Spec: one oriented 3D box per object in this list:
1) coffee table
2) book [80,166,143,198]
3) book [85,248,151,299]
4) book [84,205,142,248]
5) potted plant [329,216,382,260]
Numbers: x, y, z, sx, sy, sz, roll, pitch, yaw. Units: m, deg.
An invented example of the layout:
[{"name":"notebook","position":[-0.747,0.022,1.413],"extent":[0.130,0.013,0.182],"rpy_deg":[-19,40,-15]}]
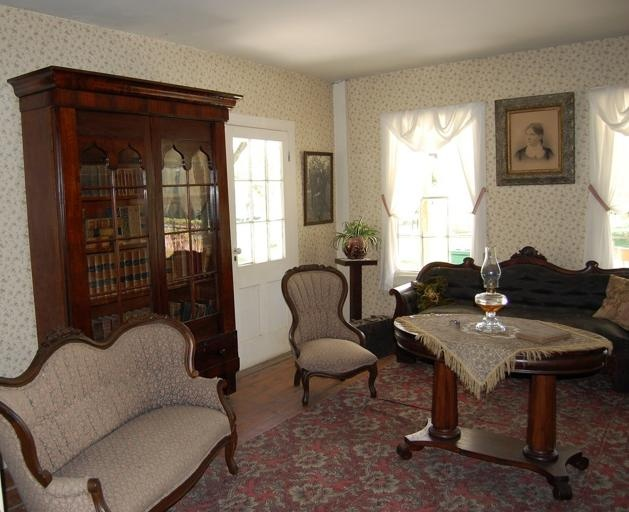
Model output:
[{"name":"coffee table","position":[1.141,0.935,3.032],"extent":[1.308,0.852,0.895],"rpy_deg":[1,2,40]},{"name":"book","position":[-1.362,-0.514,3.237],"extent":[0.018,0.217,0.467],"rpy_deg":[5,10,37]},{"name":"book","position":[-1.347,0.113,3.290],"extent":[0.023,0.311,0.468],"rpy_deg":[4,10,34]},{"name":"book","position":[-1.358,-0.231,3.252],"extent":[0.110,0.231,0.465],"rpy_deg":[4,8,44]},{"name":"potted plant","position":[0.529,-0.202,5.593],"extent":[0.567,0.447,0.519],"rpy_deg":[1,1,-13]}]
